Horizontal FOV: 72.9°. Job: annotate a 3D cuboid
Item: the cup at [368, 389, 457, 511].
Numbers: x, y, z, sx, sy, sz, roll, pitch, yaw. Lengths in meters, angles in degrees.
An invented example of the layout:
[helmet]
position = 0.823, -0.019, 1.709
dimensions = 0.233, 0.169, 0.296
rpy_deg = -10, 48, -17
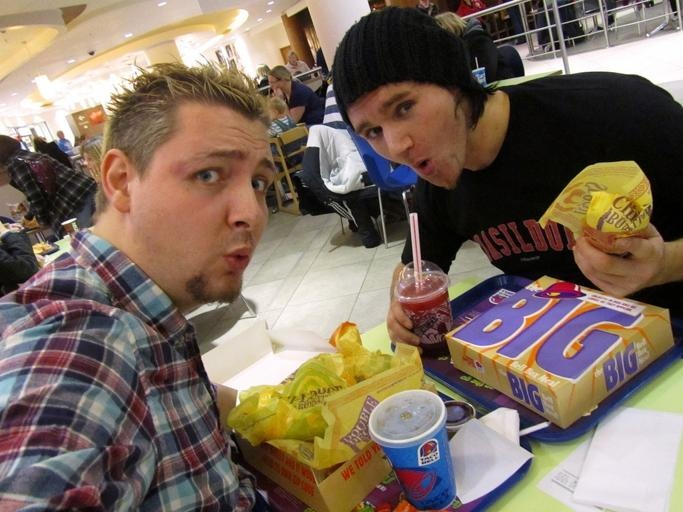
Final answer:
[cup]
position = 0.137, 0.394, 0.920
dimensions = 0.153, 0.195, 0.145
rpy_deg = -23, 22, 10

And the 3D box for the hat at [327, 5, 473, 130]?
[hat]
position = 0.212, -0.577, 1.435
dimensions = 0.382, 0.202, 0.287
rpy_deg = -16, -9, -41
